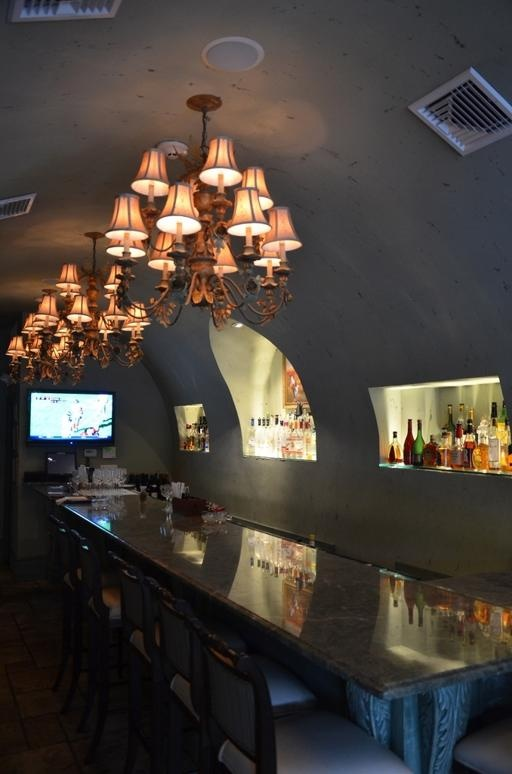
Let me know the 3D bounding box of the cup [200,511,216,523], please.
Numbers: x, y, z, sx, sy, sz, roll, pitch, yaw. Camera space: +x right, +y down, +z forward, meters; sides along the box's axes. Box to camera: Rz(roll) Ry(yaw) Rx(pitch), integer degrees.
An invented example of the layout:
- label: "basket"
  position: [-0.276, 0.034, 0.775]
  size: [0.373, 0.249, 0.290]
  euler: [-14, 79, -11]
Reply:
- label: "cup"
  position: [-0.247, 0.686, 3.093]
  size: [0.051, 0.043, 0.054]
  euler: [0, -1, 0]

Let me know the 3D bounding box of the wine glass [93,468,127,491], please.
- label: "wine glass"
  position: [-1.157, 0.707, 4.593]
  size: [0.198, 0.218, 0.212]
  euler: [-1, -1, -1]

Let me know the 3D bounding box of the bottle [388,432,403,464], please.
- label: "bottle"
  position: [0.848, 0.365, 3.524]
  size: [0.108, 0.189, 0.042]
  euler: [4, -8, -39]

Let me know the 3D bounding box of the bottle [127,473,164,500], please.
- label: "bottle"
  position: [-1.059, 0.960, 5.638]
  size: [0.445, 0.135, 0.474]
  euler: [2, -1, 0]

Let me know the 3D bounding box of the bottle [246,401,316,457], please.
- label: "bottle"
  position: [0.217, 0.377, 4.795]
  size: [0.389, 0.436, 1.098]
  euler: [1, -7, -17]

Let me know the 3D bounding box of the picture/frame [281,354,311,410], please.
- label: "picture/frame"
  position: [0.358, -0.055, 5.031]
  size: [0.026, 0.424, 0.393]
  euler: [0, 2, -29]
